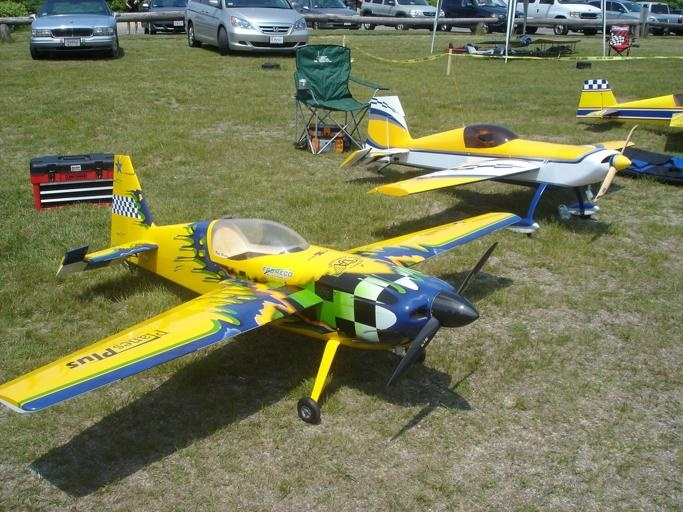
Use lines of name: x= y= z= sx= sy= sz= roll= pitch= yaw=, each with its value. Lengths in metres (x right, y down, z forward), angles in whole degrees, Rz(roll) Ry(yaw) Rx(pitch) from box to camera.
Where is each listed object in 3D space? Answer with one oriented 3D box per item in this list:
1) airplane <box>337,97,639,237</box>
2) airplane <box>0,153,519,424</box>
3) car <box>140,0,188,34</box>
airplane: x=2.033 y=-1.634 z=9.838 sx=4.278 sy=0.988 sz=3.446 roll=-17 pitch=25 yaw=-35
airplane: x=-1.040 y=0.357 z=6.145 sx=3.123 sy=0.871 sz=3.647 roll=19 pitch=29 yaw=35
car: x=-7.107 y=-9.420 z=24.004 sx=1.739 sy=0.890 sz=2.887 roll=-8 pitch=37 yaw=-21
